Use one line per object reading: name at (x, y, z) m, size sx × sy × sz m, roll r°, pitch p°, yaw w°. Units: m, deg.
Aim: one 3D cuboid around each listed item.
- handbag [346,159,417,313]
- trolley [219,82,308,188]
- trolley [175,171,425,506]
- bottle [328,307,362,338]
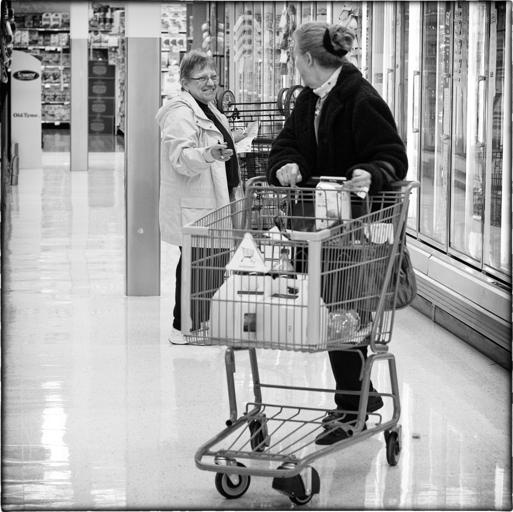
handbag at (0.448, -0.083, 3.049) m, size 0.268 × 0.517 × 0.451 m, roll 2°, pitch 10°, yaw 14°
trolley at (0.043, -1.031, 6.840) m, size 0.582 × 0.940 × 0.876 m, roll -8°, pitch -16°, yaw 9°
trolley at (0.191, 0.287, 3.087) m, size 0.731 × 1.527 × 1.196 m, roll 0°, pitch -2°, yaw 24°
bottle at (0.301, 0.235, 2.686) m, size 0.031 × 0.101 × 0.158 m, roll 6°, pitch 9°, yaw 43°
